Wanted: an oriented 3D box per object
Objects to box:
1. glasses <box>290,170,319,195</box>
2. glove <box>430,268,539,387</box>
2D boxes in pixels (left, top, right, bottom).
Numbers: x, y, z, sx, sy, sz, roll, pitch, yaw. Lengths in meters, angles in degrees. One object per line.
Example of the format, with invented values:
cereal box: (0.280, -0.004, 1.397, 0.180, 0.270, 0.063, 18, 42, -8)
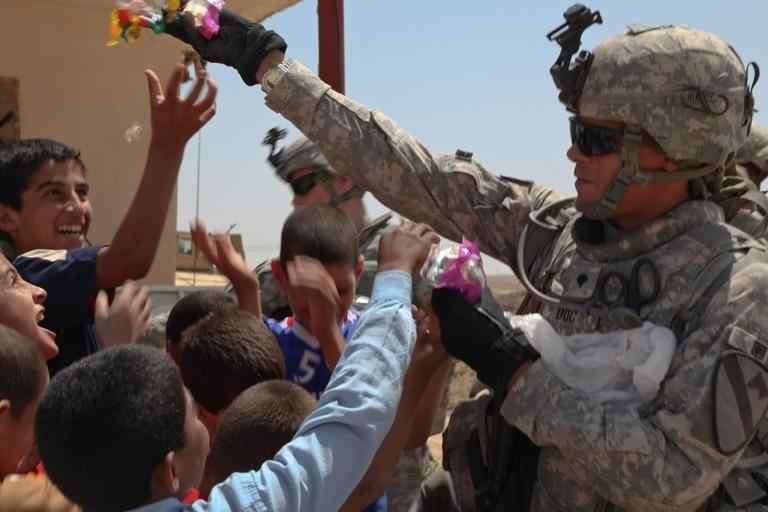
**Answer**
glasses: (-0.595, -0.536, 5.001, 0.168, 0.072, 0.181, -20, 16, 41)
glove: (0.498, 0.401, 3.287, 0.473, 0.537, 0.137, -4, -7, -18)
